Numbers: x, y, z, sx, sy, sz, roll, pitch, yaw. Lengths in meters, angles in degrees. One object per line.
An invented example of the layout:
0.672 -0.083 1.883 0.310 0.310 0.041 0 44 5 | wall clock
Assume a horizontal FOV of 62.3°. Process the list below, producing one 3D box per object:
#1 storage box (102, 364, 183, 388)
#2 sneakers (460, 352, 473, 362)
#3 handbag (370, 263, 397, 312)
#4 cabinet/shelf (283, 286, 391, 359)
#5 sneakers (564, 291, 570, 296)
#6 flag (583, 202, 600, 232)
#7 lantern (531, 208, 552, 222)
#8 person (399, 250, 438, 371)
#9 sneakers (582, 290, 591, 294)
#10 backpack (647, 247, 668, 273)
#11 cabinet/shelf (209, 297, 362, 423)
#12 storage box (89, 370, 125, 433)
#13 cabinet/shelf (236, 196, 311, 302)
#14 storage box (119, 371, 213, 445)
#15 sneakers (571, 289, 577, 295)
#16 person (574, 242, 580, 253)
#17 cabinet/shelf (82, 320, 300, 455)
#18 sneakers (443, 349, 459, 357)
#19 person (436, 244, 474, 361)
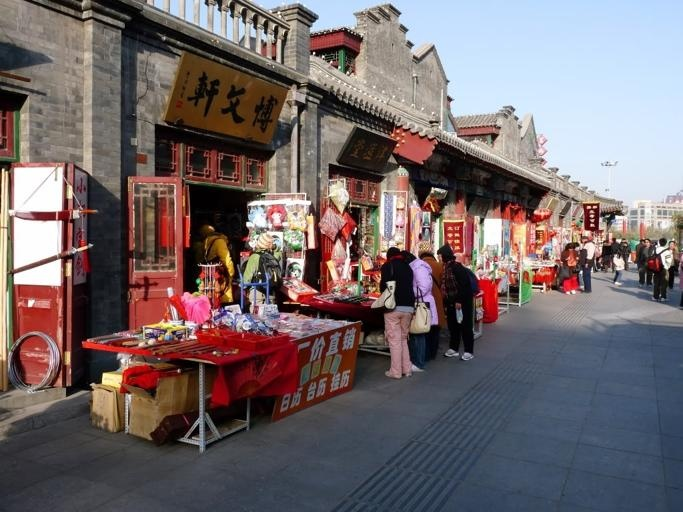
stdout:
-2.377 1.373 6.583 0.461 0.158 0.479 6 4 37 | storage box
2.157 1.681 9.569 0.254 0.128 0.202 0 6 -10 | sneakers
0.669 0.523 8.887 0.225 0.597 0.592 12 -16 -13 | handbag
-0.002 1.040 9.447 1.215 0.396 1.200 6 9 37 | cabinet/shelf
7.370 1.221 18.415 0.073 0.104 0.232 -5 -6 -1 | sneakers
14.611 -2.243 32.946 0.616 1.614 1.208 0 6 -7 | flag
8.157 -1.643 22.924 0.709 0.536 0.751 -7 4 -3 | lantern
1.309 0.915 9.119 0.477 1.584 1.127 1 0 9 | person
8.091 1.160 18.572 0.226 0.112 0.460 4 7 26 | sneakers
9.334 0.090 16.565 0.690 0.773 0.476 2 -3 -31 | backpack
-0.348 1.319 7.481 1.234 0.841 1.228 -5 4 -43 | cabinet/shelf
-2.695 1.696 6.668 0.463 0.560 0.473 10 9 43 | storage box
-1.148 -0.041 10.245 1.311 2.251 1.320 6 -25 -12 | cabinet/shelf
-1.961 1.446 6.320 0.603 0.840 1.161 5 6 30 | storage box
7.642 1.183 18.512 0.128 0.183 0.399 -6 -6 24 | sneakers
9.477 -0.344 22.712 0.240 0.334 0.974 8 -7 21 | person
-1.341 1.249 6.466 1.493 0.872 1.558 2 3 35 | cabinet/shelf
1.902 1.674 9.766 0.270 0.139 0.100 1 -6 -11 | sneakers
1.989 0.781 9.706 0.625 1.908 0.438 3 6 27 | person
